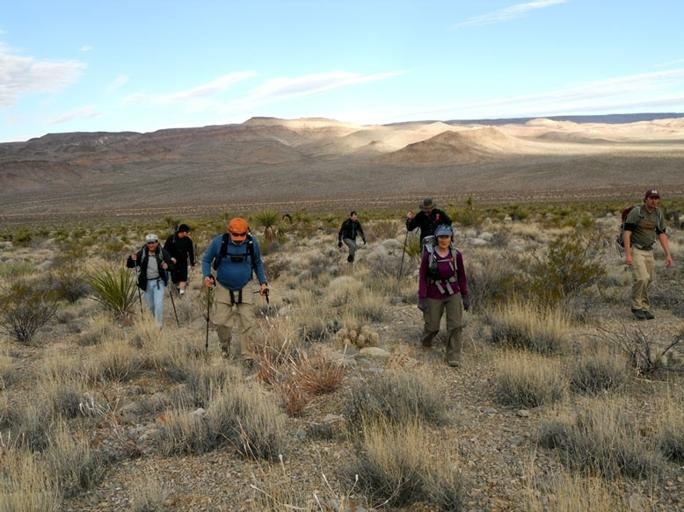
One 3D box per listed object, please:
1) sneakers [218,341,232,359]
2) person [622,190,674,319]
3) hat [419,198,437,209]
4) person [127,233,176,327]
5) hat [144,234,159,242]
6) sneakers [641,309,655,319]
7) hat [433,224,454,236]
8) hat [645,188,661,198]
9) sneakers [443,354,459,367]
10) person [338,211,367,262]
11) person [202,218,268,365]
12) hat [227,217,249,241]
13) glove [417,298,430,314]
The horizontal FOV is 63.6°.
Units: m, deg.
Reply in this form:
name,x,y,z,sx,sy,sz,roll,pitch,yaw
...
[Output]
name,x,y,z,sx,sy,sz,roll,pitch,yaw
sneakers,-1.990,1.596,9.450,0.205,0.402,0.221,1,6,-1
person,5.686,-0.027,10.428,0.961,2.387,0.721,-9,10,-19
hat,1.762,-1.009,11.402,0.325,0.200,0.389,-2,23,5
person,-3.825,0.503,11.112,0.803,1.865,0.589,-8,10,-18
hat,-3.785,-0.352,11.012,0.248,0.188,0.382,-2,6,-9
sneakers,5.776,1.098,10.405,0.098,0.139,0.297,-3,6,7
hat,1.737,-0.452,9.535,0.223,0.161,0.366,-2,4,5
hat,5.813,-1.155,10.323,0.276,0.188,0.438,1,3,17
sneakers,1.774,1.674,8.810,0.133,0.197,0.193,1,-19,3
person,0.308,-0.550,16.485,0.742,1.684,1.739,-5,11,1
person,-1.845,0.555,9.408,0.971,2.499,1.041,0,12,-8
hat,-1.731,-0.459,9.248,0.260,0.343,0.395,2,20,-14
glove,1.363,0.841,9.277,0.162,0.335,0.231,-2,8,-4
